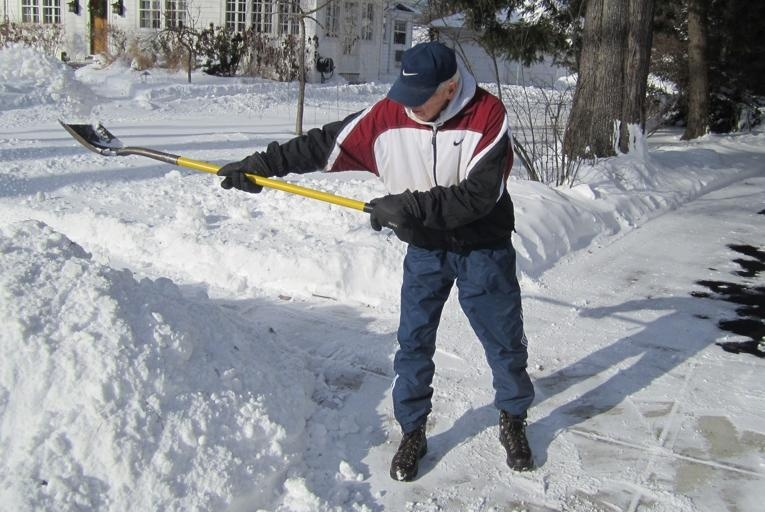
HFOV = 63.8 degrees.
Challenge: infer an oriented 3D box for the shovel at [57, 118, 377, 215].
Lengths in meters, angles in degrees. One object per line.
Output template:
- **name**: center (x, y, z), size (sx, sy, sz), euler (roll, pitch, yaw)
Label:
- **shovel**: center (-1.969, -0.935, 6.702), size (4.139, 0.369, 0.634), euler (20, 13, 12)

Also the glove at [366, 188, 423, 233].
- **glove**: center (0.063, -0.268, 3.789), size (0.226, 0.302, 0.388), euler (-1, -4, -41)

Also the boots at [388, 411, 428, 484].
- **boots**: center (0.169, 1.240, 4.014), size (0.144, 0.285, 0.385), euler (6, 25, 26)

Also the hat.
- **hat**: center (0.237, -1.099, 3.723), size (0.421, 0.393, 0.222), euler (3, 13, 6)

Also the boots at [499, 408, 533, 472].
- **boots**: center (0.878, 1.209, 4.078), size (0.133, 0.271, 0.422), euler (-4, 18, -4)
